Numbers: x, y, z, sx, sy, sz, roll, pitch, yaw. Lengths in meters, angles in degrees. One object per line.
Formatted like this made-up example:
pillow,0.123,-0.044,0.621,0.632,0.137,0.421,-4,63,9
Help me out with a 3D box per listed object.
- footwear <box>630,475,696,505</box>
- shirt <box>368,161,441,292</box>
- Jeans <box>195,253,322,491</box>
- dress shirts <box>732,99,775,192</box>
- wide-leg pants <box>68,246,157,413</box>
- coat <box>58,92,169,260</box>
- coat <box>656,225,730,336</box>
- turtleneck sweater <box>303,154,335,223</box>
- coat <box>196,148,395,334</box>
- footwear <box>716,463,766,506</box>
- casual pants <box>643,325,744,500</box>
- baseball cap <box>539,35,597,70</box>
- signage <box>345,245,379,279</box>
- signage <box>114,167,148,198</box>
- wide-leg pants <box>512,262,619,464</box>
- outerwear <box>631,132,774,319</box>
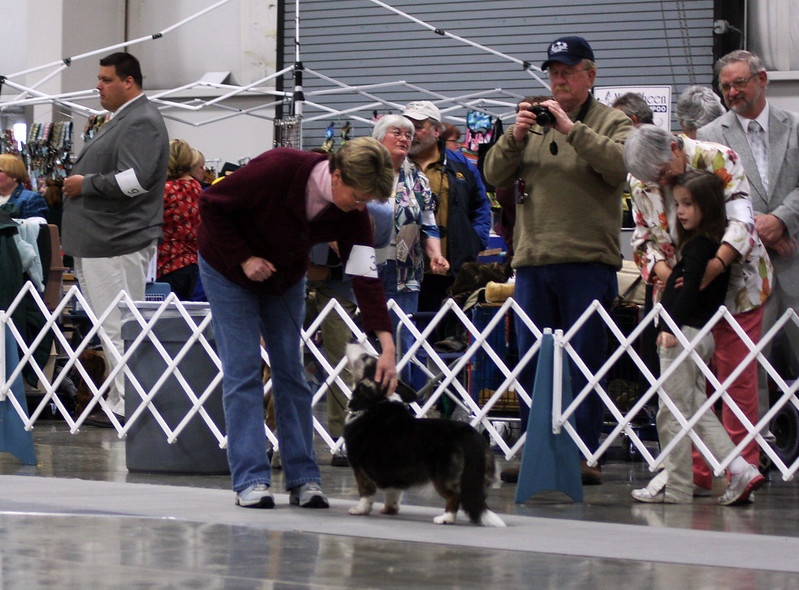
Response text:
footwear,1.591,1.157,7.974,0.389,0.185,0.141,3,-8,9
shirt,0.007,-0.527,9.322,0.522,1.090,0.355,6,22,11
Jeans,-0.737,0.466,7.613,0.533,1.580,0.367,-2,-31,-11
dress shirts,2.330,-0.922,8.596,0.261,0.479,0.096,-7,-2,-3
wide-leg pants,-2.393,0.206,10.203,0.397,1.265,0.353,-8,10,3
coat,-2.196,-0.800,10.819,0.949,1.654,1.411,6,0,-12
coat,1.767,-0.091,7.892,0.258,0.486,0.485,15,-9,27
turtleneck sweater,-0.438,-0.562,7.162,0.133,0.269,0.195,6,-6,8
coat,-0.595,-0.294,7.380,1.015,1.021,0.445,-3,5,-15
footwear,2.027,1.132,7.884,0.148,0.166,0.345,-29,-18,-42
casual pants,1.767,0.646,8.001,0.687,1.080,0.363,-4,3,-19
baseball cap,1.100,-1.502,8.319,0.268,0.136,0.190,0,0,-36
signage,-0.203,-0.180,7.339,0.169,0.136,0.157,3,-2,30
signage,-2.048,-0.856,10.050,0.166,0.178,0.029,-27,26,-8
wide-leg pants,1.175,0.207,8.255,0.642,0.642,0.969,-10,25,-16
outerwear,1.845,-0.476,8.149,0.881,1.152,0.927,-15,14,-19
